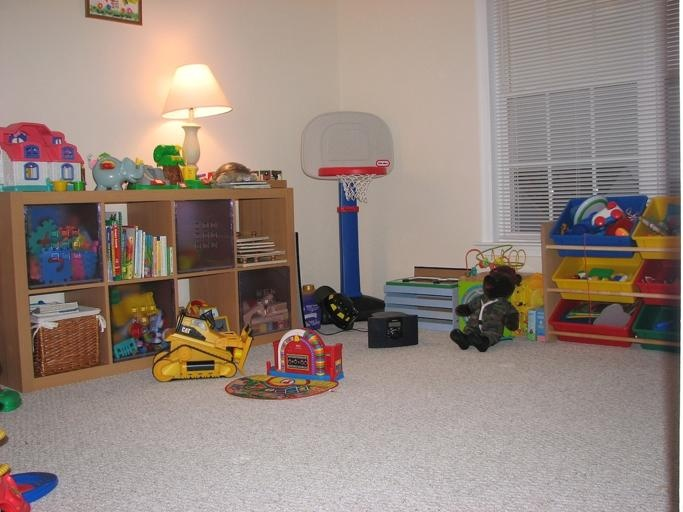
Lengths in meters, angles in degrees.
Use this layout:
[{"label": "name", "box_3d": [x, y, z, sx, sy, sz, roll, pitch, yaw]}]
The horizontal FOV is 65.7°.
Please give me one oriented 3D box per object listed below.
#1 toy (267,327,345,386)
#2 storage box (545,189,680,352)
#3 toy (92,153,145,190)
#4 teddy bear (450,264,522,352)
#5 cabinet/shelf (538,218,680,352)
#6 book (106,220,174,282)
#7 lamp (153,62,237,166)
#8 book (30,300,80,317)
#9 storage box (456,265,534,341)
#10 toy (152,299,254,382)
[{"label": "toy", "box_3d": [-0.236, 0.552, 3.018, 0.473, 0.279, 0.131, 1, 8, 19]}, {"label": "storage box", "box_3d": [1.751, 0.125, 3.395, 1.054, 0.987, 0.540, -1, 0, 39]}, {"label": "toy", "box_3d": [-1.343, -0.489, 3.224, 0.329, 0.229, 0.193, 5, -1, -13]}, {"label": "teddy bear", "box_3d": [0.981, 0.333, 3.580, 0.421, 0.519, 0.535, 1, 8, 19]}, {"label": "cabinet/shelf", "box_3d": [1.736, 0.185, 3.379, 0.863, 0.747, 0.360, -1, -1, 29]}, {"label": "book", "box_3d": [-1.219, -0.013, 3.296, 0.289, 0.480, 0.511, -3, -3, 44]}, {"label": "lamp", "box_3d": [-1.077, -0.963, 3.814, 0.458, 0.720, 0.520, -3, 8, -26]}, {"label": "book", "box_3d": [-1.646, 0.294, 3.000, 0.250, 0.057, 0.194, -3, 8, -13]}, {"label": "storage box", "box_3d": [1.052, 0.341, 3.621, 0.324, 0.529, 0.379, 19, -3, -41]}, {"label": "toy", "box_3d": [-0.826, 0.502, 3.183, 0.512, 0.374, 0.374, -2, 5, -6]}]
